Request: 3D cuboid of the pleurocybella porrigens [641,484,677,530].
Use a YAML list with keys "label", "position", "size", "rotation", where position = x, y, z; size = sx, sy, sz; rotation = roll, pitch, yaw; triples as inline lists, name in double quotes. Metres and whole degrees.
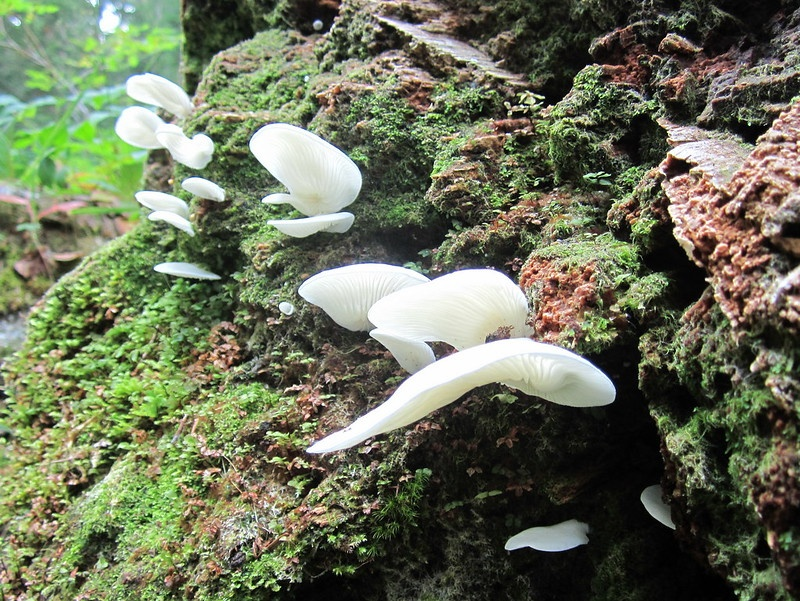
- label: "pleurocybella porrigens"
  position: [2.444, 2.033, 6.880]
  size: [0.123, 0.458, 0.414]
  rotation: [-43, 16, 31]
